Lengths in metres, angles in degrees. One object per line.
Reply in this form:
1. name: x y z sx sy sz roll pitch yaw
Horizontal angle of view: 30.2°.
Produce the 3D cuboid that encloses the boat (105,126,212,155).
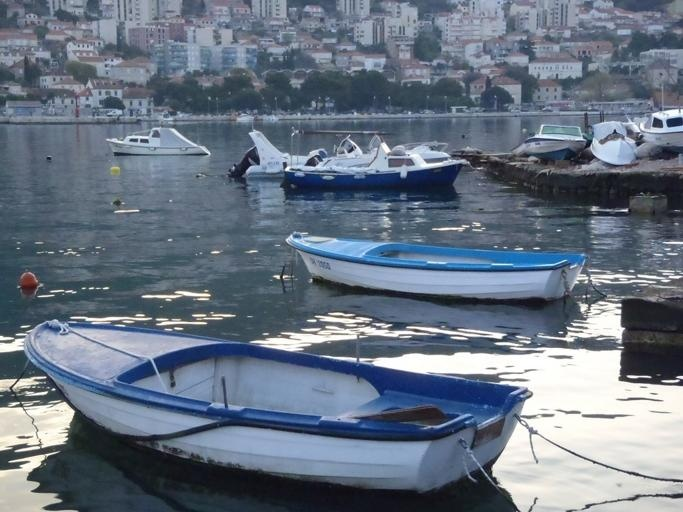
1. boat: -9.860 -6.164 68.675 4.839 1.493 1.518 0 5 -4
